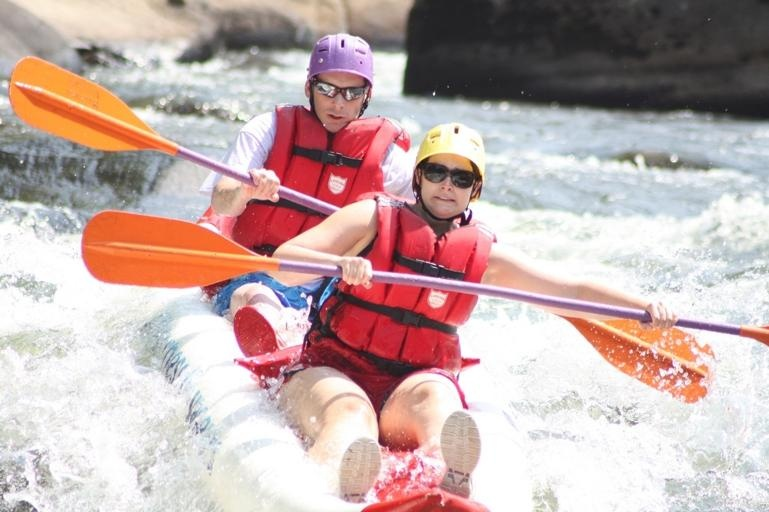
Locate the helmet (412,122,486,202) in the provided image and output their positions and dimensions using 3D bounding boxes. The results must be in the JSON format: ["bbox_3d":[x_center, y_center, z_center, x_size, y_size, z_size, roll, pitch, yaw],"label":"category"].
[{"bbox_3d":[0.400,-0.654,6.209,0.413,0.538,0.463,4,93,-6],"label":"helmet"}]

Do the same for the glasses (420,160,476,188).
[{"bbox_3d":[0.408,-0.503,5.959,0.206,0.203,0.065,12,74,-2],"label":"glasses"}]

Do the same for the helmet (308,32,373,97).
[{"bbox_3d":[-0.327,-1.389,6.996,0.486,0.646,0.448,4,81,-5],"label":"helmet"}]

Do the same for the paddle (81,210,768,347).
[{"bbox_3d":[0.187,0.187,6.616,3.795,0.257,0.499,9,38,-5],"label":"paddle"}]
